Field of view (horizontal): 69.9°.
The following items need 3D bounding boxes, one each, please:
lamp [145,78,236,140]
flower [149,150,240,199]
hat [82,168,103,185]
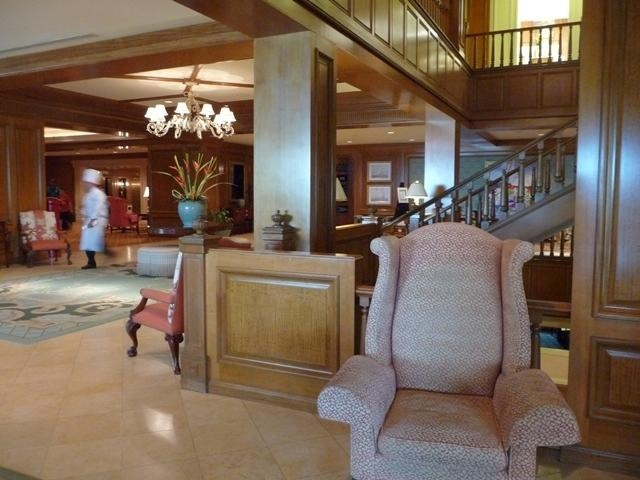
[{"bbox_3d":[-2.510,-2.562,8.783,1.612,0.820,1.473,2,4,8],"label":"lamp"},{"bbox_3d":[-2.260,-0.816,7.750,0.886,0.552,1.114,8,-34,-27],"label":"flower"},{"bbox_3d":[-3.582,-0.966,7.167,0.241,0.248,0.556,-13,14,-25],"label":"hat"}]
